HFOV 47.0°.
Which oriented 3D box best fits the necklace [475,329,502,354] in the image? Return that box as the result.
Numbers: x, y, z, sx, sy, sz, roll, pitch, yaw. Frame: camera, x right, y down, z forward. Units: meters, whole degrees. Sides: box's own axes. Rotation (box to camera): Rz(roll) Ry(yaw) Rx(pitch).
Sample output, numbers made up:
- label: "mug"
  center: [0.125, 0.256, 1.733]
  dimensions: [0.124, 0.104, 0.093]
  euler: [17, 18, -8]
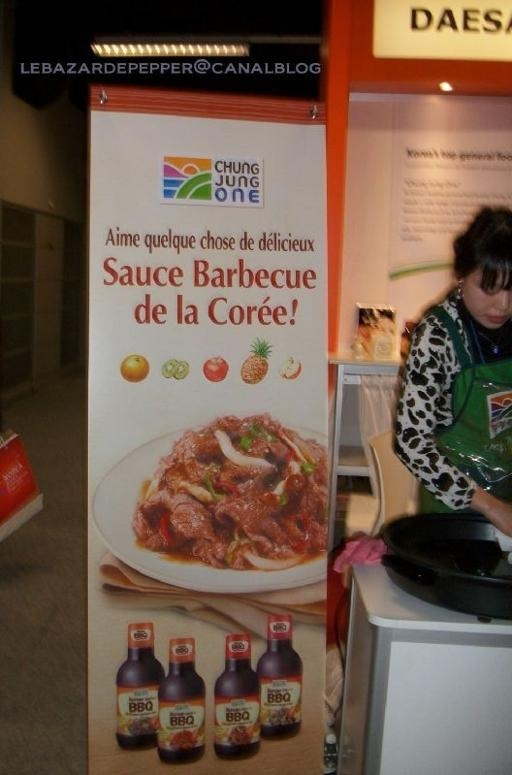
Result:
- label: "necklace"
  center: [0.494, -0.096, 1.248]
  dimensions: [0.038, 0.054, 0.022]
  euler: [-8, 3, 5]
